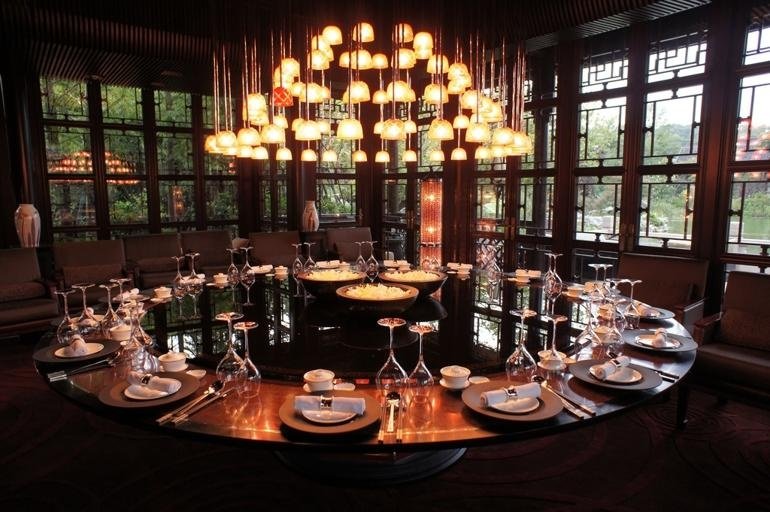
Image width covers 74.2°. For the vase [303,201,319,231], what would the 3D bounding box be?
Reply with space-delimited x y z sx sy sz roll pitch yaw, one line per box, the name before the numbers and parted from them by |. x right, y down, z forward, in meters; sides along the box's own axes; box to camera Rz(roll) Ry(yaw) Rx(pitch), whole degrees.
vase | -1.298 -0.695 8.783 0.271 0.520 0.374 -5 9 -10
